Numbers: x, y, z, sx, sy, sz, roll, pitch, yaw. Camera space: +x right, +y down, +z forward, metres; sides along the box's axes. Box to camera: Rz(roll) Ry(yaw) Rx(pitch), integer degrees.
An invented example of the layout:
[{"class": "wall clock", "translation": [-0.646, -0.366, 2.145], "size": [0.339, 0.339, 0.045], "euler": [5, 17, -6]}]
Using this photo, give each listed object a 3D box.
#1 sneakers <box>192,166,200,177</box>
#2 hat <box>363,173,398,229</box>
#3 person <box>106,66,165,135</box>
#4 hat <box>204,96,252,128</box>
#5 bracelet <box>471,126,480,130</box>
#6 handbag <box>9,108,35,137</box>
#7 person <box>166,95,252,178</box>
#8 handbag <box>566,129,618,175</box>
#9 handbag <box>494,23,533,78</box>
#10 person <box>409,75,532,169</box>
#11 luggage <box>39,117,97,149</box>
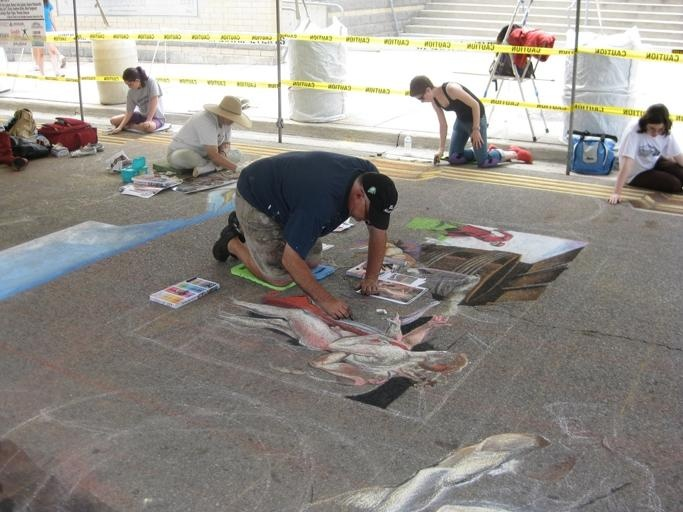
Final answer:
[{"class": "sneakers", "translation": [-1.685, -0.997, 6.169], "size": [0.078, 0.109, 0.091], "euler": [-2, 18, -16]}, {"class": "hat", "translation": [0.220, -0.324, 3.197], "size": [0.211, 0.370, 0.229], "euler": [3, 18, 1]}, {"class": "person", "translation": [-3.065, -2.392, 8.058], "size": [0.785, 0.988, 0.508], "euler": [-7, 21, -29]}, {"class": "hat", "translation": [-1.259, -1.628, 5.817], "size": [0.465, 0.329, 0.513], "euler": [-2, 16, -13]}, {"class": "bracelet", "translation": [1.602, -1.572, 6.334], "size": [0.109, 0.042, 0.090], "euler": [3, 9, 12]}, {"class": "handbag", "translation": [-4.350, -1.826, 7.189], "size": [0.365, 0.389, 0.508], "euler": [-7, 18, -28]}, {"class": "person", "translation": [-1.527, -1.438, 6.164], "size": [0.960, 0.801, 0.836], "euler": [5, 27, -11]}, {"class": "handbag", "translation": [2.974, -1.233, 6.275], "size": [0.794, 0.575, 0.397], "euler": [5, 9, 24]}, {"class": "handbag", "translation": [2.376, -2.885, 7.286], "size": [0.463, 0.738, 0.559], "euler": [18, 23, 40]}, {"class": "person", "translation": [1.574, -1.669, 6.606], "size": [1.653, 0.955, 0.680], "euler": [-4, 6, -31]}, {"class": "luggage", "translation": [-3.783, -1.751, 7.325], "size": [0.671, 0.221, 0.563], "euler": [17, 26, 33]}]
